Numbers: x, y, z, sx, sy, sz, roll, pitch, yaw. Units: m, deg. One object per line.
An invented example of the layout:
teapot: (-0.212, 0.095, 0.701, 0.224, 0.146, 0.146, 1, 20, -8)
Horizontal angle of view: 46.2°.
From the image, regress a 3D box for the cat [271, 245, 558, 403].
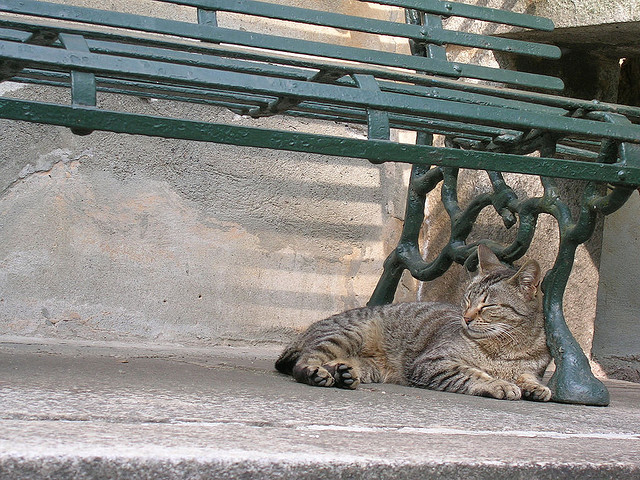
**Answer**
cat: (0.515, 0.341, 2.822, 0.751, 0.335, 1.168, 9, -11, -43)
